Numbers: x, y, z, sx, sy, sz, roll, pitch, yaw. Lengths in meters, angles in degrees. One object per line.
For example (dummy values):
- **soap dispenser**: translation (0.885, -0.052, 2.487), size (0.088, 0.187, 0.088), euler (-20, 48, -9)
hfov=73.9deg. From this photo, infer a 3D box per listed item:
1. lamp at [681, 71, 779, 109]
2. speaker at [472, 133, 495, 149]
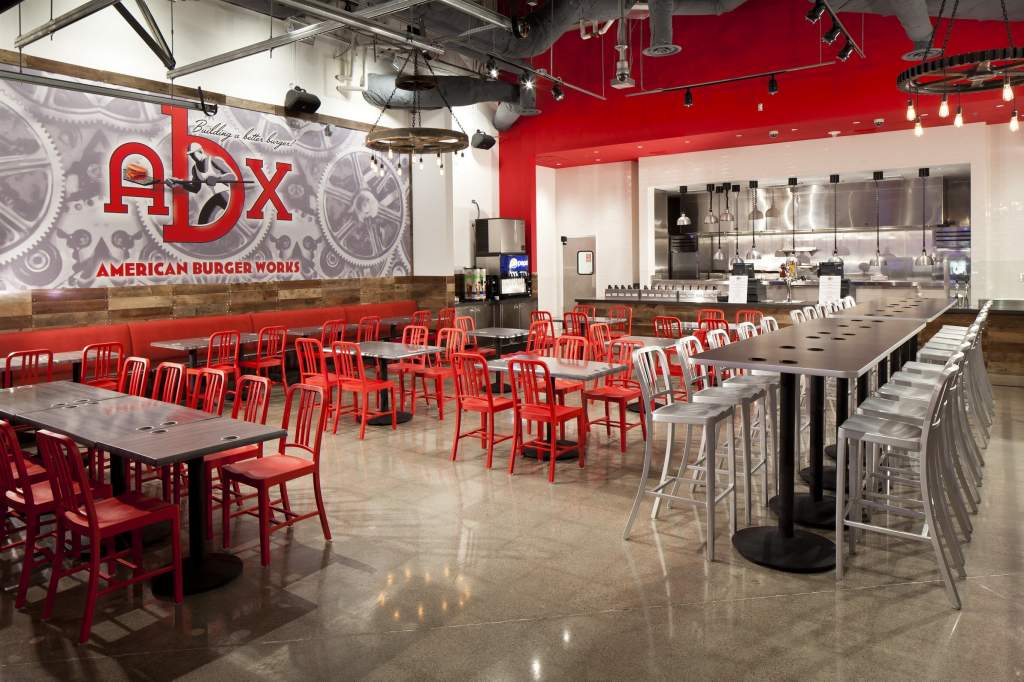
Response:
- **lamp**: translation (3.793, -4.369, 11.925), size (1.680, 0.592, 1.449), euler (2, 8, 17)
- **speaker**: translation (-0.582, -4.162, 14.236), size (0.352, 0.367, 0.455), euler (3, 5, -2)
